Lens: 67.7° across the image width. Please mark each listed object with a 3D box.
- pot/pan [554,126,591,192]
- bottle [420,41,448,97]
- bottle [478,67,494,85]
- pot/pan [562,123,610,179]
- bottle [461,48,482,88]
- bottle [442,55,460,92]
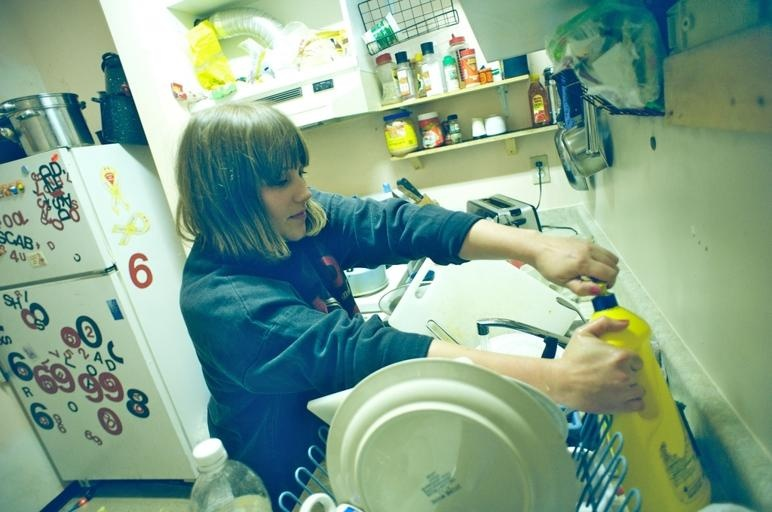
[{"bbox_3d":[0.824,-0.416,2.568,0.111,0.300,0.176,-10,31,18],"label":"pot/pan"},{"bbox_3d":[0.238,-0.949,2.957,0.113,0.259,0.204,-8,15,11],"label":"bottle"},{"bbox_3d":[0.499,-0.886,2.872,0.075,0.092,0.059,-14,16,-2],"label":"bottle"},{"bbox_3d":[0.811,-0.413,2.351,0.232,0.224,0.146,12,-10,-37],"label":"pot/pan"},{"bbox_3d":[0.417,-0.935,2.880,0.079,0.191,0.103,-20,17,-30],"label":"bottle"},{"bbox_3d":[0.333,-0.910,2.897,0.080,0.180,0.090,-9,15,8],"label":"bottle"}]
